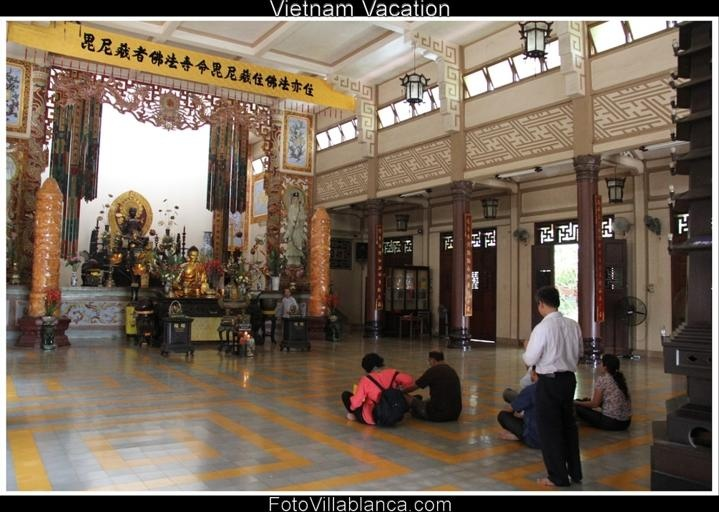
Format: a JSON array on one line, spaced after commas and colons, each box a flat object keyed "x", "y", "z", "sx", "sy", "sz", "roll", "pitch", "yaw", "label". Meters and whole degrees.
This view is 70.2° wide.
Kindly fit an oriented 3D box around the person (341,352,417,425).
[{"x": 0.139, "y": 1.337, "z": 5.425, "sx": 0.783, "sy": 0.783, "sz": 0.726, "roll": -2, "pitch": -2, "yaw": -16, "label": "person"}]

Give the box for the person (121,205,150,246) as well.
[{"x": -6.533, "y": -0.899, "z": 14.898, "sx": 0.715, "sy": 1.164, "sz": 0.836, "roll": 3, "pitch": -4, "yaw": -25, "label": "person"}]

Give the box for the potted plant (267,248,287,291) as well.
[{"x": -2.325, "y": 0.377, "z": 14.331, "sx": 0.456, "sy": 1.223, "sz": 1.074, "roll": 1, "pitch": -4, "yaw": -7, "label": "potted plant"}]

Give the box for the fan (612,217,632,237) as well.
[{"x": 5.671, "y": -0.652, "z": 11.043, "sx": 0.376, "sy": 0.456, "sz": 0.172, "roll": -2, "pitch": -5, "yaw": 32, "label": "fan"}]

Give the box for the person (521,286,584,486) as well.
[{"x": 1.472, "y": 1.060, "z": 3.792, "sx": 0.509, "sy": 1.264, "sz": 0.163, "roll": 3, "pitch": -4, "yaw": -25, "label": "person"}]

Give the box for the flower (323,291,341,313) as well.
[{"x": -0.774, "y": 1.263, "z": 14.035, "sx": 0.631, "sy": 0.696, "sz": 0.590, "roll": -1, "pitch": -3, "yaw": -5, "label": "flower"}]

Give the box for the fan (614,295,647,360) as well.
[{"x": 5.603, "y": 1.448, "z": 10.664, "sx": 0.588, "sy": 1.248, "sz": 0.631, "roll": -3, "pitch": -6, "yaw": 44, "label": "fan"}]

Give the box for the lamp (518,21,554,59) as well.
[{"x": 2.944, "y": -3.727, "z": 8.647, "sx": 0.419, "sy": 0.758, "sz": 0.629, "roll": 0, "pitch": -4, "yaw": 15, "label": "lamp"}]

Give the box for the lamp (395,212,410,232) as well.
[{"x": 1.176, "y": -1.071, "z": 15.647, "sx": 0.512, "sy": 0.558, "sz": 0.516, "roll": 0, "pitch": 1, "yaw": -42, "label": "lamp"}]

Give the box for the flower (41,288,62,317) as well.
[{"x": -6.354, "y": 0.951, "z": 10.583, "sx": 0.274, "sy": 0.560, "sz": 0.483, "roll": 4, "pitch": -5, "yaw": -33, "label": "flower"}]

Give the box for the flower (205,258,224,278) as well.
[{"x": -3.734, "y": 0.306, "z": 13.025, "sx": 0.417, "sy": 0.389, "sz": 0.407, "roll": 1, "pitch": 2, "yaw": 16, "label": "flower"}]

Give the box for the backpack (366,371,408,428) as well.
[{"x": 0.278, "y": 1.470, "z": 5.189, "sx": 0.406, "sy": 0.497, "sz": 0.216, "roll": 1, "pitch": -4, "yaw": 1, "label": "backpack"}]

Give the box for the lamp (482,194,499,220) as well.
[{"x": 3.401, "y": -1.289, "z": 13.349, "sx": 0.563, "sy": 0.641, "sz": 0.611, "roll": 1, "pitch": -2, "yaw": 34, "label": "lamp"}]

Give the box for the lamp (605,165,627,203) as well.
[{"x": 5.344, "y": -1.561, "z": 10.702, "sx": 0.455, "sy": 0.841, "sz": 0.425, "roll": 0, "pitch": 0, "yaw": 18, "label": "lamp"}]

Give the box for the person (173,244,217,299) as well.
[{"x": -4.063, "y": 0.432, "z": 12.612, "sx": 1.376, "sy": 1.393, "sz": 0.802, "roll": 2, "pitch": -7, "yaw": -30, "label": "person"}]

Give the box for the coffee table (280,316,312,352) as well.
[{"x": -1.470, "y": 1.697, "z": 11.286, "sx": 0.747, "sy": 0.789, "sz": 0.712, "roll": 1, "pitch": -4, "yaw": -10, "label": "coffee table"}]

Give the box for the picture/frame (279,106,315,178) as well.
[{"x": -1.863, "y": -3.451, "z": 15.510, "sx": 1.062, "sy": 1.809, "sz": 0.161, "roll": 4, "pitch": -5, "yaw": -38, "label": "picture/frame"}]

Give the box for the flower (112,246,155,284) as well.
[{"x": -6.047, "y": 0.240, "z": 13.574, "sx": 0.949, "sy": 1.019, "sz": 1.917, "roll": 3, "pitch": -5, "yaw": -24, "label": "flower"}]

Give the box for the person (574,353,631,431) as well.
[{"x": 2.540, "y": 1.427, "z": 5.326, "sx": 0.545, "sy": 0.698, "sz": 0.517, "roll": 0, "pitch": -10, "yaw": 5, "label": "person"}]

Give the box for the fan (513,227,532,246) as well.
[{"x": 4.083, "y": -0.527, "z": 12.890, "sx": 0.128, "sy": 0.426, "sz": 0.462, "roll": 4, "pitch": -5, "yaw": -38, "label": "fan"}]

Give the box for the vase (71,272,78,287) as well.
[{"x": -6.652, "y": 0.547, "z": 11.970, "sx": 0.095, "sy": 0.330, "sz": 0.244, "roll": 3, "pitch": -4, "yaw": -25, "label": "vase"}]
